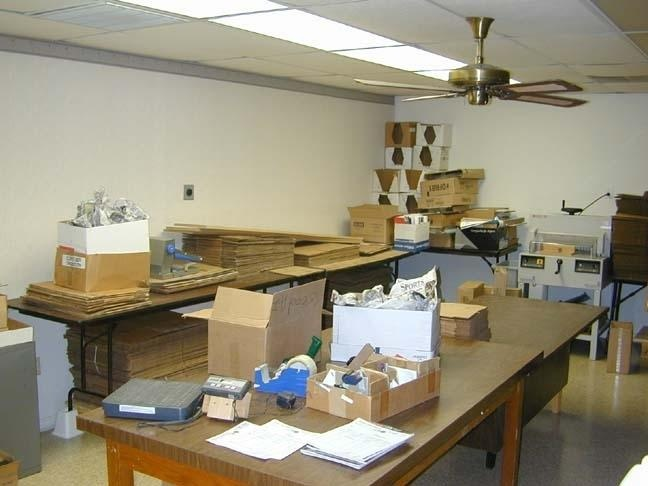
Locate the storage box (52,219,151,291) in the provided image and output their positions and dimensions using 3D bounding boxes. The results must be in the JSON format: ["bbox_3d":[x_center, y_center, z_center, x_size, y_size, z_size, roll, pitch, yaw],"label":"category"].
[{"bbox_3d":[-1.535,0.029,3.600,0.574,0.447,0.561,-6,12,-41],"label":"storage box"}]

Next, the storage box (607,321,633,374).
[{"bbox_3d":[2.930,1.033,4.965,0.229,0.511,0.224,10,10,29],"label":"storage box"}]

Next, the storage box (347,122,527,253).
[{"bbox_3d":[1.451,-0.754,6.183,1.983,1.557,1.305,7,9,19],"label":"storage box"}]

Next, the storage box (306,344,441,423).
[{"bbox_3d":[0.208,0.579,2.098,0.396,0.142,0.497,1,3,34],"label":"storage box"}]

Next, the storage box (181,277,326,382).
[{"bbox_3d":[-0.326,0.408,2.563,0.522,0.368,0.578,1,6,28],"label":"storage box"}]

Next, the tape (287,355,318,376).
[{"bbox_3d":[-0.092,0.523,2.172,0.126,0.095,0.067,3,6,20],"label":"tape"}]

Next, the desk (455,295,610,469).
[{"bbox_3d":[1.318,0.894,3.715,1.050,0.779,1.904,9,6,39],"label":"desk"}]

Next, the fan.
[{"bbox_3d":[0.920,-0.857,2.861,0.866,0.287,0.875,4,6,19],"label":"fan"}]

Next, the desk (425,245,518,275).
[{"bbox_3d":[1.837,0.187,6.225,0.875,0.429,0.978,9,9,31],"label":"desk"}]

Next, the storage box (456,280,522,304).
[{"bbox_3d":[1.505,0.470,4.746,0.368,0.207,0.353,4,12,29],"label":"storage box"}]
